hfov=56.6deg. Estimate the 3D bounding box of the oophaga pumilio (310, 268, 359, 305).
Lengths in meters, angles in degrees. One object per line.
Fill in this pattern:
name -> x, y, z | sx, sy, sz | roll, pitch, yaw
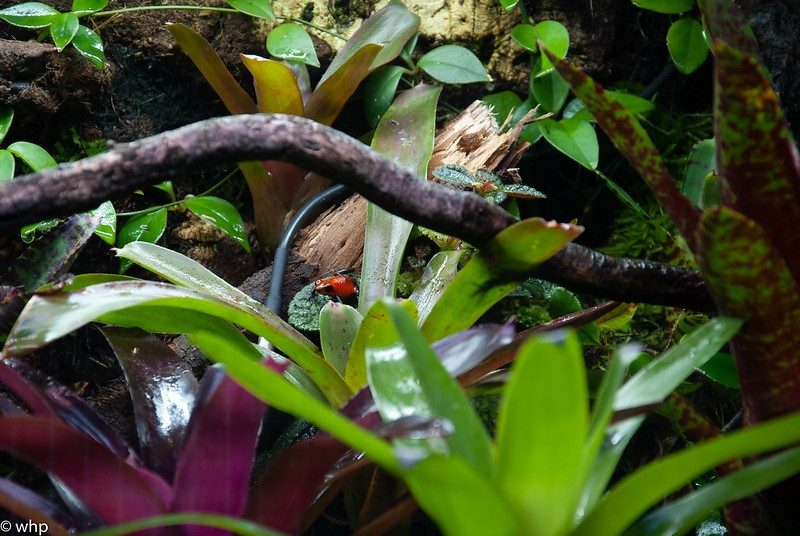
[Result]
oophaga pumilio -> -0.150, 0.056, 1.866 | 0.086, 0.032, 0.083 | -23, 52, -30
